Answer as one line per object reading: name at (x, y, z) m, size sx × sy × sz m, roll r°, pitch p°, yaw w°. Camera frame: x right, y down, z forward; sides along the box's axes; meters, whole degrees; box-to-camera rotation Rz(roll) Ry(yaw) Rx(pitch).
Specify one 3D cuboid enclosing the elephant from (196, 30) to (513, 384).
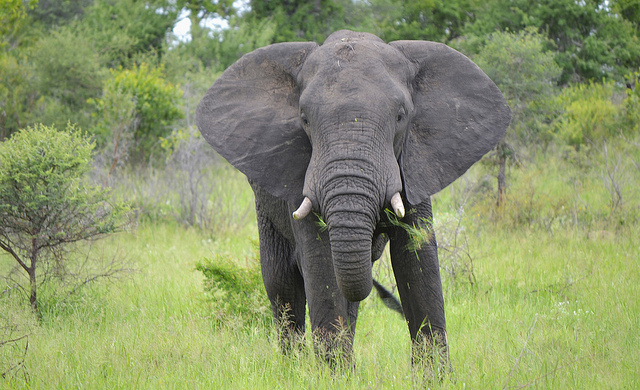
elephant at (0.104, 0.342, 10.295) m, size 2.660 × 3.358 × 4.236 m, roll 1°, pitch -12°, yaw -11°
